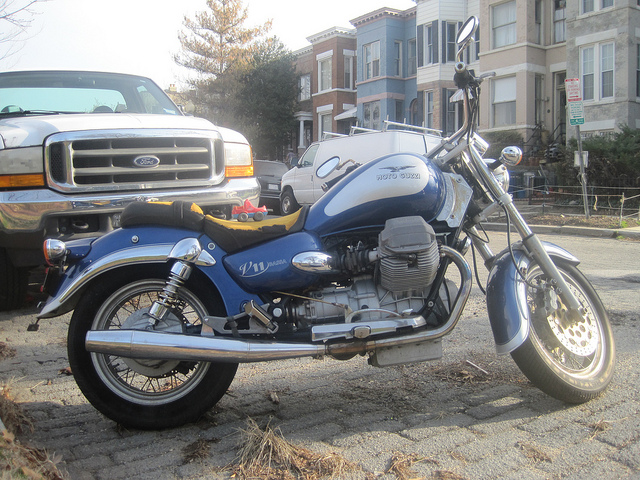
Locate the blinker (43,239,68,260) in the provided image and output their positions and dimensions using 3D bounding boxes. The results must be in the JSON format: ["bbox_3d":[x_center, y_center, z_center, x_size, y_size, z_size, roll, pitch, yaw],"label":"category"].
[{"bbox_3d":[-1.759,0.060,3.902,0.112,0.135,0.144,4,-4,-19],"label":"blinker"}]

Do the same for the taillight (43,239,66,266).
[{"bbox_3d":[-1.786,0.069,3.971,0.145,0.215,0.168,0,10,-23],"label":"taillight"}]

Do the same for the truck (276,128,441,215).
[{"bbox_3d":[0.601,-1.697,17.197,2.333,2.303,5.422,8,0,-27],"label":"truck"}]

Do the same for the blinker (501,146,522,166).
[{"bbox_3d":[1.406,-0.606,4.325,0.152,0.095,0.155,-2,-22,35],"label":"blinker"}]

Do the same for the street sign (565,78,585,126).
[{"bbox_3d":[5.977,-3.220,13.824,0.358,1.075,0.031,-5,-3,-1],"label":"street sign"}]

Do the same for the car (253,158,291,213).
[{"bbox_3d":[-1.798,-1.983,20.917,1.157,1.160,2.096,2,8,0],"label":"car"}]
